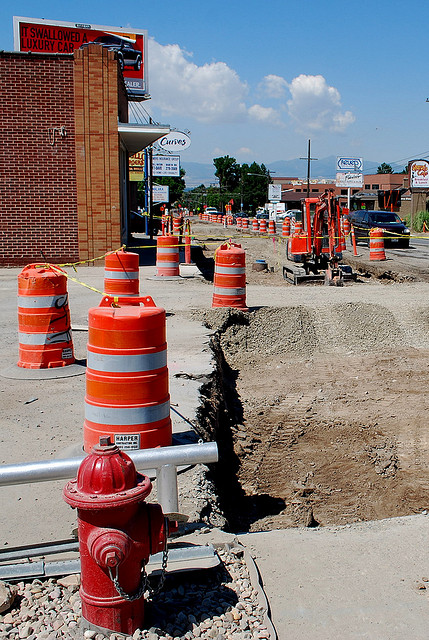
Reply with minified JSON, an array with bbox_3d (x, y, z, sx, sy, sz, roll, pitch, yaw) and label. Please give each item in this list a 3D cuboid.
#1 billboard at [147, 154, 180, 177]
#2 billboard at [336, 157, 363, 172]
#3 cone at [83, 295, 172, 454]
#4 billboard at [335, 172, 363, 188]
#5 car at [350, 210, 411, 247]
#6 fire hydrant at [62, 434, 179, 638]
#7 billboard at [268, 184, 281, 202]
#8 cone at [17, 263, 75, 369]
[{"bbox_3d":[-3.213,-10.175,46.356,1.712,1.400,1.384,-2,12,-6],"label":"billboard"},{"bbox_3d":[12.890,-14.733,67.030,2.246,1.271,2.076,2,12,16],"label":"billboard"},{"bbox_3d":[-0.652,0.404,5.102,0.645,1.104,0.566,-2,12,-6],"label":"cone"},{"bbox_3d":[12.327,-12.867,64.385,3.419,1.790,0.493,4,13,20],"label":"billboard"},{"bbox_3d":[7.216,-3.958,30.001,1.920,1.413,3.540,-1,7,-11],"label":"car"},{"bbox_3d":[-0.424,0.972,3.288,0.375,0.928,0.506,9,16,41],"label":"fire hydrant"},{"bbox_3d":[6.961,-14.876,82.292,1.143,1.681,2.691,7,14,33],"label":"billboard"},{"bbox_3d":[-1.908,-0.071,7.819,0.651,1.090,0.612,-1,8,-16],"label":"cone"}]
